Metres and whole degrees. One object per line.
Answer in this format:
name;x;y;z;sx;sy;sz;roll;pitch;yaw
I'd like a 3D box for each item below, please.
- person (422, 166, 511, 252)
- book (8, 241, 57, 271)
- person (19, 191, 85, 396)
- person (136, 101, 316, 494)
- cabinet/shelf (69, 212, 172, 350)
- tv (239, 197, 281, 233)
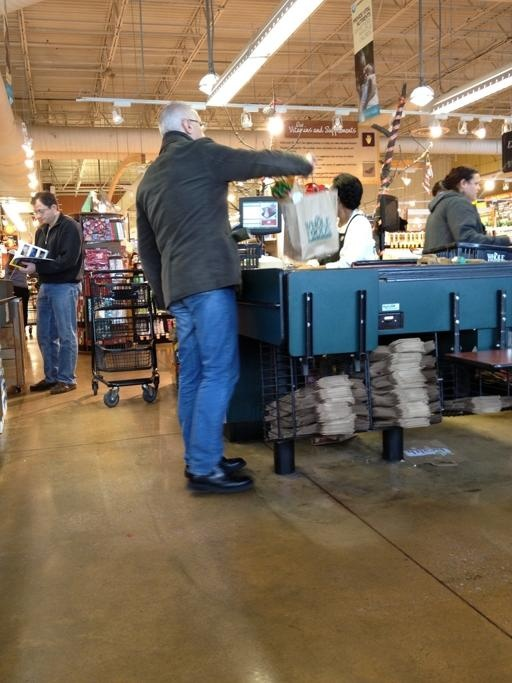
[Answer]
person;1.440;-0.949;3.496;0.539;0.688;1.036;0;6;17
book;-2.018;-0.773;4.510;0.261;0.100;0.261;-13;-2;-6
person;-1.925;-0.482;4.835;0.547;1.915;0.671;-4;6;-24
person;-0.220;-0.130;2.348;0.855;1.574;0.364;3;7;37
cabinet/shelf;-2.048;-0.878;6.441;1.393;1.745;1.079;8;27;34
tv;0.030;-0.809;3.192;0.337;0.285;0.079;-4;7;-21
